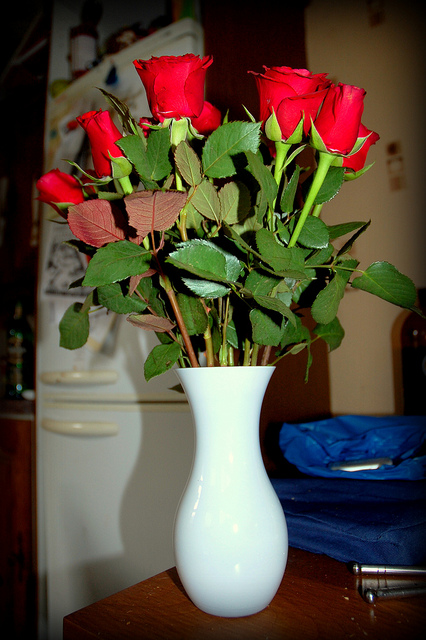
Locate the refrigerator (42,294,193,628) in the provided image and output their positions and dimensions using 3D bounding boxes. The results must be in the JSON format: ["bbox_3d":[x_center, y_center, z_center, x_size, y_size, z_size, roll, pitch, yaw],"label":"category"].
[{"bbox_3d":[-0.352,0.377,1.357,0.292,0.224,0.573,10,50,-35],"label":"refrigerator"}]

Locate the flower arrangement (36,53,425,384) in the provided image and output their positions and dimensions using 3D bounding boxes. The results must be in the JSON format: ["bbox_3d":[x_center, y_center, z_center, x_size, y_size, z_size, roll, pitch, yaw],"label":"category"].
[{"bbox_3d":[0.020,-0.072,0.558,0.336,0.326,0.318,-6,81,19],"label":"flower arrangement"}]
